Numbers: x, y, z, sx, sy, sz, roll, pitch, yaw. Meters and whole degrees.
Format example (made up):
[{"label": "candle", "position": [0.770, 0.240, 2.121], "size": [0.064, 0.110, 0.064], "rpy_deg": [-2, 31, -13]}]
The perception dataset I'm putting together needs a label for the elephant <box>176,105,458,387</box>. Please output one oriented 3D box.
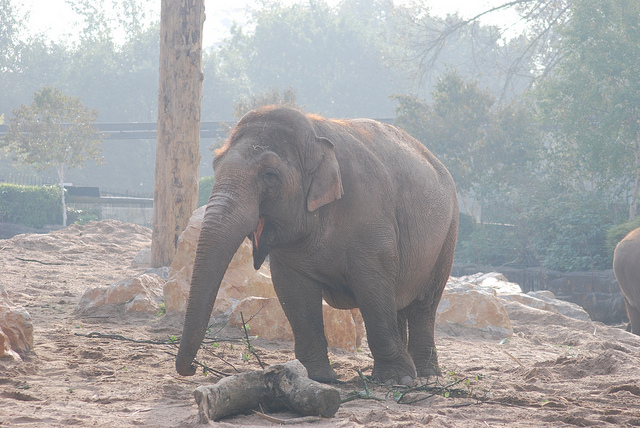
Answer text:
[{"label": "elephant", "position": [0.537, 1.322, 35.940], "size": [11.512, 9.312, 5.112], "rpy_deg": [6, -4, -41]}]
